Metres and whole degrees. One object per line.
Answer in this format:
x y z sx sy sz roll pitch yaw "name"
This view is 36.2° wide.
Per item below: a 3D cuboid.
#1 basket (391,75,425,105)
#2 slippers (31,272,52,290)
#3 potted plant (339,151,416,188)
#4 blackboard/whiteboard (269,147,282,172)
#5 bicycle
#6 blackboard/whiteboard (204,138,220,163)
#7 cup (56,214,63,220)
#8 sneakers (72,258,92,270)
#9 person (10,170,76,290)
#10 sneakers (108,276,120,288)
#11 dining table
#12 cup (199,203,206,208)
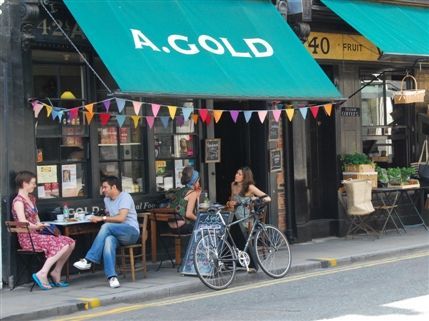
5.001 -1.843 17.150 0.383 0.749 0.807 -2 -1 42 "basket"
-3.072 2.161 11.527 0.103 0.384 0.214 -41 -7 11 "slippers"
3.905 0.270 16.302 1.323 0.577 1.028 -1 -1 27 "potted plant"
1.370 -0.021 15.028 0.075 0.623 0.525 -2 -2 41 "blackboard/whiteboard"
0.404 1.478 12.077 2.116 1.282 0.687 -4 -2 -34 "bicycle"
-0.077 -0.228 14.450 0.483 0.640 0.079 0 -1 -39 "blackboard/whiteboard"
-2.858 1.036 12.052 0.094 0.078 0.090 1 1 0 "cup"
-2.362 1.824 11.636 0.300 0.124 0.220 -5 -2 -26 "sneakers"
-3.099 1.215 11.734 1.019 2.127 0.666 -4 -2 -17 "person"
-1.768 2.123 11.478 0.106 0.137 0.286 -4 -7 -17 "sneakers"
-2.575 1.811 12.531 0.918 1.318 1.317 0 0 34 "dining table"
-0.259 0.919 13.533 0.102 0.075 0.078 7 -10 -36 "cup"
